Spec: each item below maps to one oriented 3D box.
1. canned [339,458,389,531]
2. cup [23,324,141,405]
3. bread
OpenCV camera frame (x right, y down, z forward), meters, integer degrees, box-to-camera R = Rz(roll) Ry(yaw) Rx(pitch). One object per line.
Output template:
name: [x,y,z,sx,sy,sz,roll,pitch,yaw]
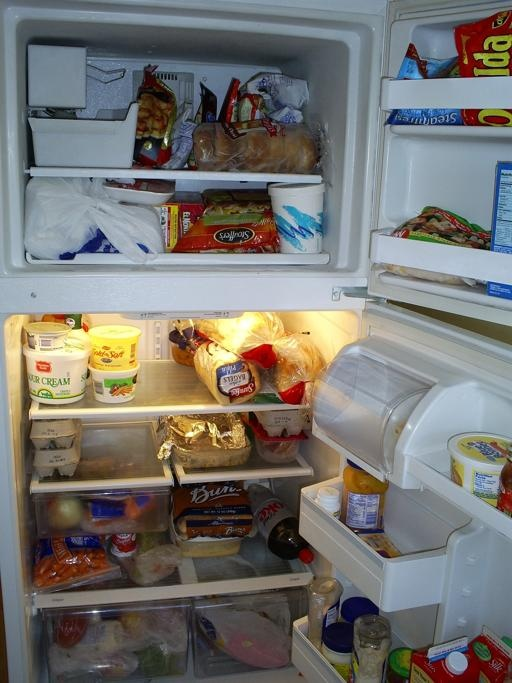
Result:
canned: [0.215,0.323,1.141,0.086,0.127,0.103,1,14,10]
cup: [-0.439,0.047,1.423,0.314,0.189,0.206,-4,14,-37]
bread: [-0.004,-0.414,1.240,0.236,0.070,0.115,2,39,-4]
